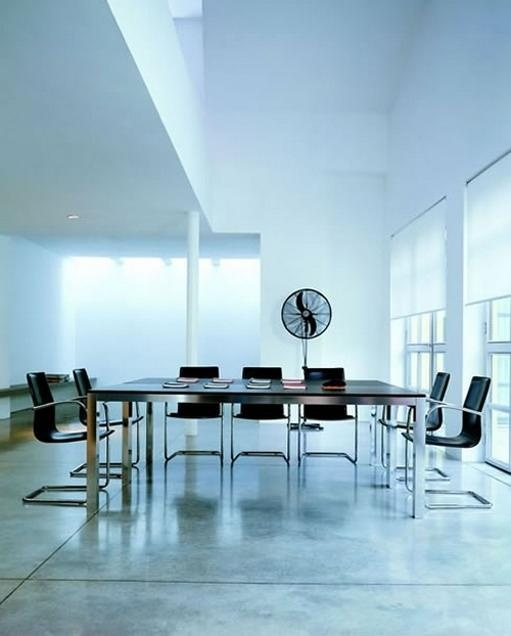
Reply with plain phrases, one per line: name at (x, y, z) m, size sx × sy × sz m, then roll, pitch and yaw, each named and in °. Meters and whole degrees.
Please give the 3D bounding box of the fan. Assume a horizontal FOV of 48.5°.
fan at (0.665, 0.210, 7.546) m, size 0.645 × 0.489 × 1.737 m, roll 0°, pitch -46°, yaw 4°

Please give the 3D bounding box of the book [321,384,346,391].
book at (0.475, 0.423, 3.513) m, size 0.136 × 0.030 × 0.131 m, roll 0°, pitch -3°, yaw 5°
